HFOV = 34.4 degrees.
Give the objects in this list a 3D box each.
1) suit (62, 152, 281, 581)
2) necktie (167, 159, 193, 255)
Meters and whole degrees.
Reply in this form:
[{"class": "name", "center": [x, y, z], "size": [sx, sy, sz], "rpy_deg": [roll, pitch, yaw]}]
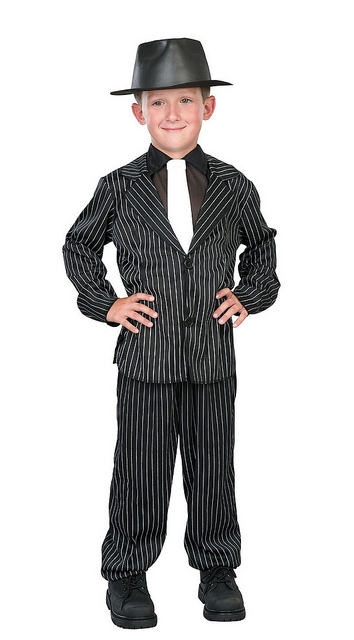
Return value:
[{"class": "suit", "center": [-0.006, 0.209, 2.219], "size": [0.755, 0.427, 1.745], "rpy_deg": [0, -87, -7]}, {"class": "necktie", "center": [0.009, -0.427, 2.096], "size": [0.078, 0.390, 0.062], "rpy_deg": [1, -13, -3]}]
